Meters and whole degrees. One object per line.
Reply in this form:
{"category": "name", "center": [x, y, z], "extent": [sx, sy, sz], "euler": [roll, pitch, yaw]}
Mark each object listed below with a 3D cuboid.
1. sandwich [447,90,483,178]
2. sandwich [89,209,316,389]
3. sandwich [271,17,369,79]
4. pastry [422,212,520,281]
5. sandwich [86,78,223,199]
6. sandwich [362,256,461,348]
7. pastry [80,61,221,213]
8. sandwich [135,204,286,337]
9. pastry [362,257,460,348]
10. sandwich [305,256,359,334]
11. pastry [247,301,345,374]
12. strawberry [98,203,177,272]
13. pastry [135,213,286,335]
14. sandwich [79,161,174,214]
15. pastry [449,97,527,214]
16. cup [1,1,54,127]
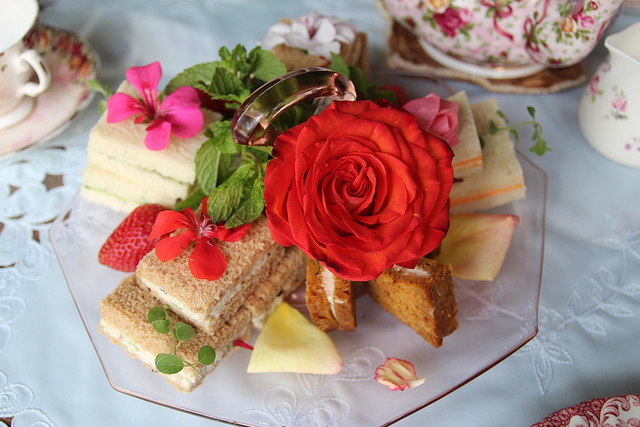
{"category": "sandwich", "center": [0.341, -0.184, 1.162], "extent": [0.083, 0.163, 0.143], "euler": [5, 31, -5]}
{"category": "sandwich", "center": [-0.196, 0.136, 1.122], "extent": [0.295, 0.232, 0.503], "euler": [42, 77, 9]}
{"category": "sandwich", "center": [-0.005, -0.397, 1.194], "extent": [0.163, 0.116, 0.294], "euler": [-21, 37, -28]}
{"category": "pastry", "center": [0.315, 0.063, 1.110], "extent": [0.279, 0.076, 0.193], "euler": [-7, 41, 19]}
{"category": "sandwich", "center": [-0.393, -0.121, 1.183], "extent": [0.226, 0.117, 0.166], "euler": [4, 12, -6]}
{"category": "sandwich", "center": [0.190, 0.174, 1.034], "extent": [0.218, 0.172, 0.089], "euler": [20, 33, 20]}
{"category": "pastry", "center": [-0.391, -0.163, 1.127], "extent": [0.324, 0.348, 0.159], "euler": [13, 31, 8]}
{"category": "sandwich", "center": [-0.266, 0.084, 1.101], "extent": [0.211, 0.136, 0.290], "euler": [30, 47, -4]}
{"category": "pastry", "center": [0.188, 0.184, 1.008], "extent": [0.065, 0.148, 0.198], "euler": [-38, 18, -19]}
{"category": "sandwich", "center": [0.020, 0.179, 1.111], "extent": [0.128, 0.240, 0.173], "euler": [-4, -6, 14]}
{"category": "pastry", "center": [-0.045, 0.271, 1.038], "extent": [0.207, 0.104, 0.147], "euler": [5, 47, 10]}
{"category": "strawberry", "center": [-0.422, 0.057, 1.164], "extent": [0.114, 0.190, 0.114], "euler": [27, 0, 10]}
{"category": "pastry", "center": [-0.224, 0.124, 1.007], "extent": [0.246, 0.113, 0.161], "euler": [29, 44, 30]}
{"category": "sandwich", "center": [-0.479, -0.053, 1.172], "extent": [0.154, 0.043, 0.148], "euler": [19, 2, -10]}
{"category": "pastry", "center": [0.400, -0.114, 1.160], "extent": [0.104, 0.246, 0.204], "euler": [-22, 46, -29]}
{"category": "cup", "center": [-0.719, -0.368, 1.196], "extent": [0.123, 0.258, 0.177], "euler": [-9, 34, -25]}
